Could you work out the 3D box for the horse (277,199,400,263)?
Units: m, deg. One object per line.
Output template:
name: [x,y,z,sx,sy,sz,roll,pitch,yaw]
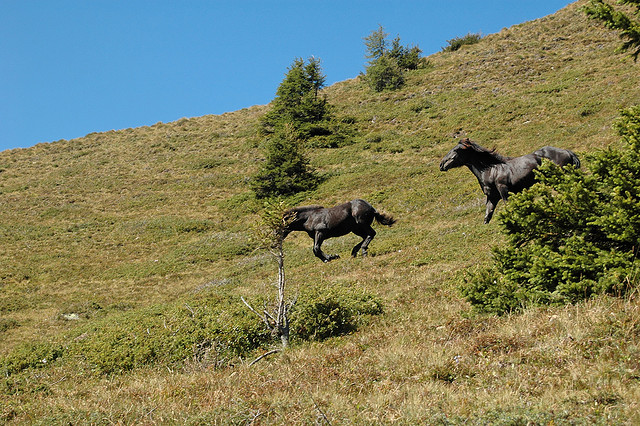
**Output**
horse: [1.890,1.806,115.518,13.314,6.401,3.504,-10,-12,6]
